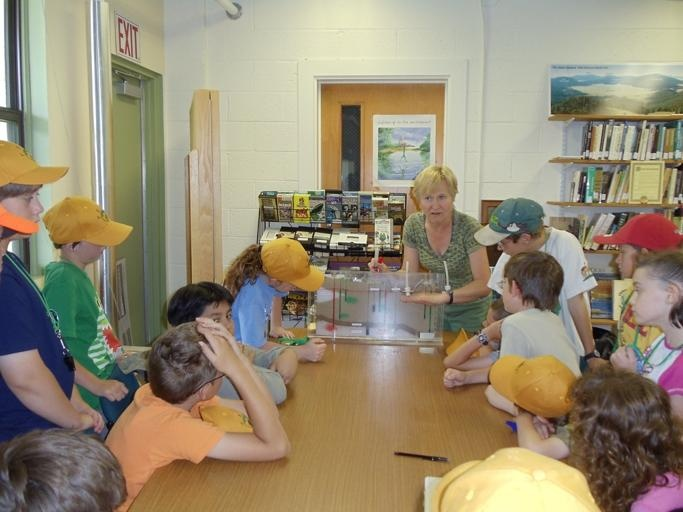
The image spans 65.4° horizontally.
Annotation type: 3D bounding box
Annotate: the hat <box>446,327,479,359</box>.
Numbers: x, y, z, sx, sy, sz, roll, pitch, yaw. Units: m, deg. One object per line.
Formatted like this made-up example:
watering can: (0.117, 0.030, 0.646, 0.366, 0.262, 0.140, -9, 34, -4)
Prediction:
hat: (0.536, 0.392, 2.372, 0.059, 0.090, 0.087, -48, 41, -13)

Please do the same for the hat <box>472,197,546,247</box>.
hat: (0.790, -0.126, 2.478, 0.347, 0.183, 0.221, -8, -15, 13)

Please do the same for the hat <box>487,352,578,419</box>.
hat: (0.607, 0.377, 1.678, 0.274, 0.098, 0.192, 23, 46, 40)

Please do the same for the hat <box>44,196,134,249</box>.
hat: (-1.053, -0.158, 2.223, 0.352, 0.174, 0.225, -3, 27, -11)

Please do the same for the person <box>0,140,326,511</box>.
person: (-0.431, 0.262, 1.982, 1.371, 0.987, 0.621, 3, -1, -29)

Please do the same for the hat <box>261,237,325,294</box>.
hat: (-0.209, 0.013, 2.430, 0.297, 0.172, 0.210, 15, 39, -8)
